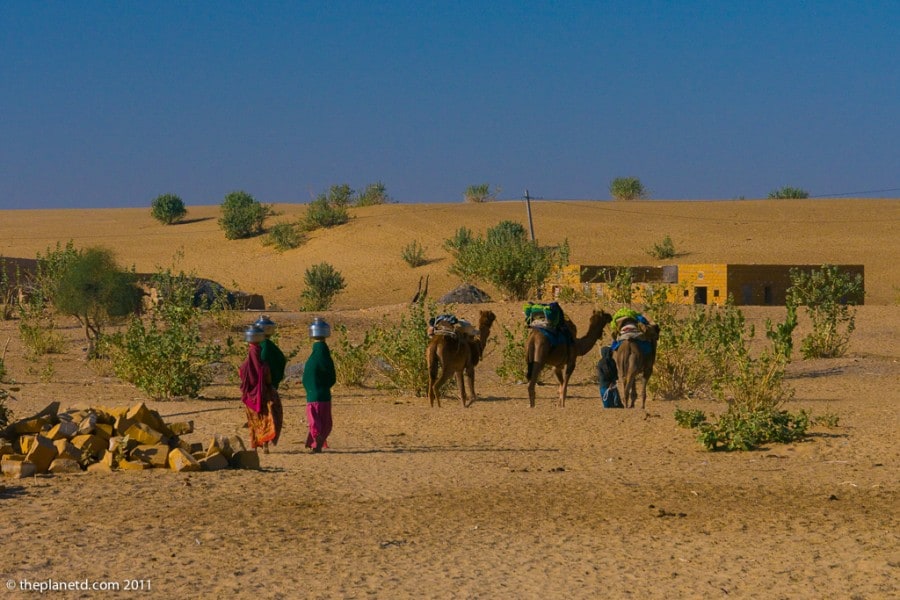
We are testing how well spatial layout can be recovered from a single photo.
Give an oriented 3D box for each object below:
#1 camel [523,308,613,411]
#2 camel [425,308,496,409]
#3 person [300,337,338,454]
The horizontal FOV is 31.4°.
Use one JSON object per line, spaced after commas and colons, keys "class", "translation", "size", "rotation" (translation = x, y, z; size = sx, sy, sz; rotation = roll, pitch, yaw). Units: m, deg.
{"class": "camel", "translation": [2.282, 1.269, 35.306], "size": [1.511, 2.052, 2.716], "rotation": [3, 3, 35]}
{"class": "camel", "translation": [0.146, 1.313, 35.474], "size": [1.153, 2.024, 1.952], "rotation": [1, 3, 9]}
{"class": "person", "translation": [-2.525, 1.807, 31.099], "size": [0.572, 2.173, 1.256], "rotation": [1, 3, -5]}
